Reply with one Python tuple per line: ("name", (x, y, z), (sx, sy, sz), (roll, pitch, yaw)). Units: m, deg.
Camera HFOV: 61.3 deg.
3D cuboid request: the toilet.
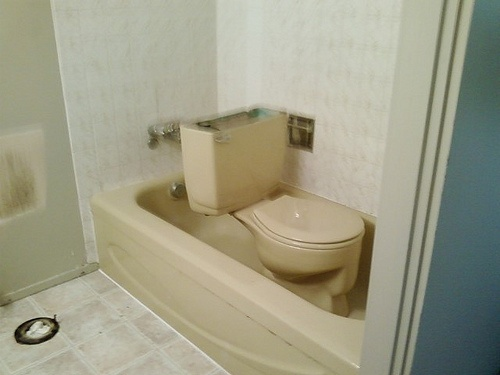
("toilet", (0.166, 0.098, 1.983), (0.548, 0.728, 0.841), (-21, 33, -38))
